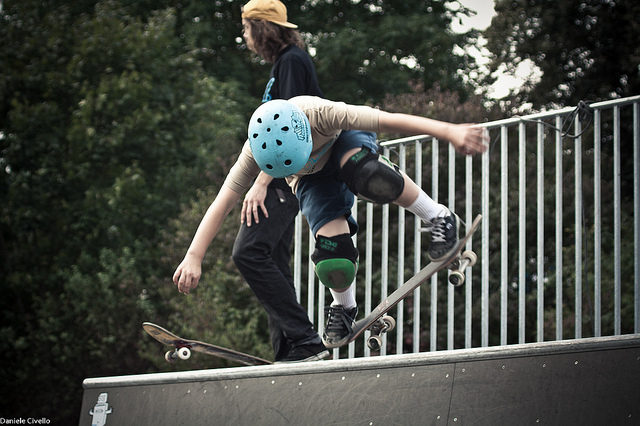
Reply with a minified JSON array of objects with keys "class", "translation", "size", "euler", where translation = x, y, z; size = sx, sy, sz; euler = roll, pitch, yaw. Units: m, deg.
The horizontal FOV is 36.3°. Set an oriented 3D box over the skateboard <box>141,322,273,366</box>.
[{"class":"skateboard","translation":[-1.504,2.072,14.570],"size":[2.012,0.383,0.464],"euler":[18,2,-17]}]
